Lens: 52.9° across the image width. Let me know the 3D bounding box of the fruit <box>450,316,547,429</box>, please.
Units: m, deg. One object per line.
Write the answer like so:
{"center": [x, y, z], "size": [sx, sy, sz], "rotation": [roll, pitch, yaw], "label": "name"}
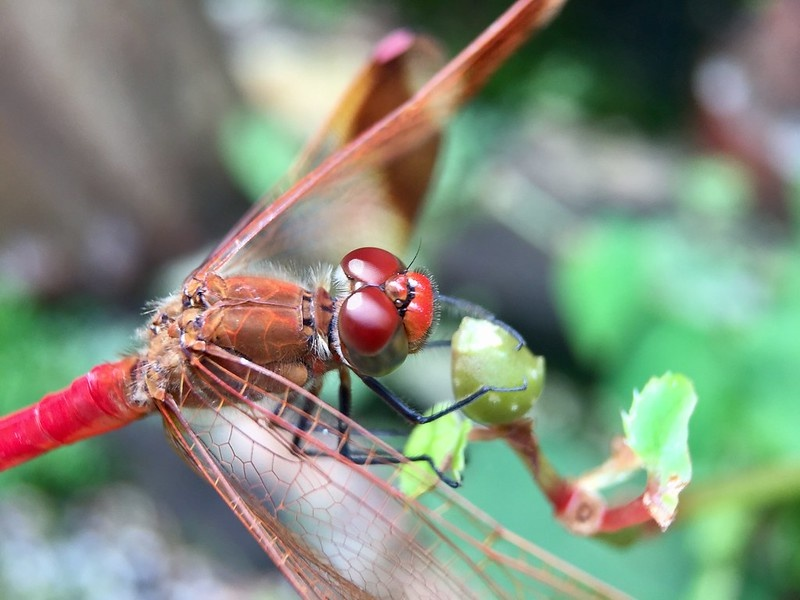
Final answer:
{"center": [0.228, 0.171, 1.903], "size": [0.194, 0.247, 0.180], "rotation": [6, 54, 9], "label": "fruit"}
